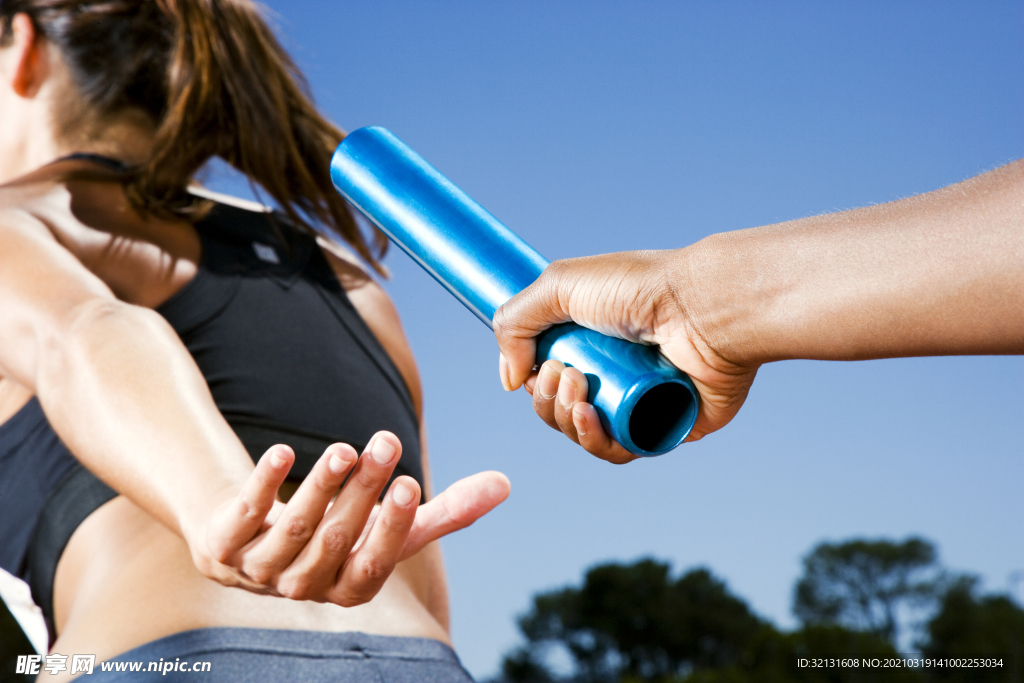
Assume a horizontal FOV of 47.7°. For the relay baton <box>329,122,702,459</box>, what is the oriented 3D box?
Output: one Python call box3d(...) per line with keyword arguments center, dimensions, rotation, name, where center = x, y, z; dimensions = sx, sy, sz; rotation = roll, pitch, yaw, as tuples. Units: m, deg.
box3d(center=(-0.042, -0.100, 1.701), dimensions=(0.712, 0.150, 0.148), rotation=(41, -4, 32), name="relay baton")
